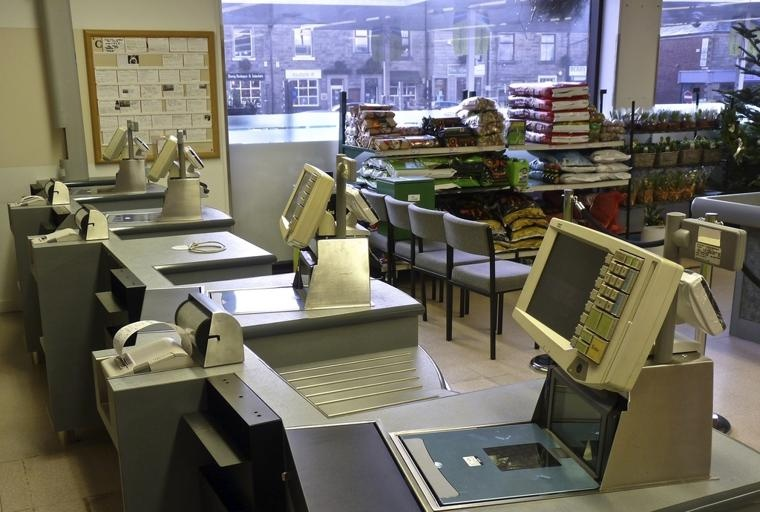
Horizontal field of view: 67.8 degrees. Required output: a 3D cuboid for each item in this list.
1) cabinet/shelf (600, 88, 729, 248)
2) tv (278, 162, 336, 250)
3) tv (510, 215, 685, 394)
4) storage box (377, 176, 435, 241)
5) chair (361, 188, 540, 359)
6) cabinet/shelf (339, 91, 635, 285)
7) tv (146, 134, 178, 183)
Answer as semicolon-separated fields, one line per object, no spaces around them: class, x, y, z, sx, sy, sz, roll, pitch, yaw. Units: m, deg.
cabinet/shelf;3.299;-1.022;6.465;0.478;1.344;1.184;-24;19;-37
tv;-0.338;-0.224;2.544;0.133;0.340;0.359;16;10;-20
tv;0.537;0.119;1.480;0.150;0.366;0.525;12;9;-11
storage box;0.312;-0.467;5.259;0.479;0.538;0.499;-8;16;-18
chair;0.493;0.129;4.131;0.428;0.817;1.189;-9;19;-24
cabinet/shelf;0.782;-0.607;4.663;1.823;1.740;0.581;-5;18;-18
tv;-1.519;-0.664;3.939;0.213;0.335;0.416;-10;19;-20
